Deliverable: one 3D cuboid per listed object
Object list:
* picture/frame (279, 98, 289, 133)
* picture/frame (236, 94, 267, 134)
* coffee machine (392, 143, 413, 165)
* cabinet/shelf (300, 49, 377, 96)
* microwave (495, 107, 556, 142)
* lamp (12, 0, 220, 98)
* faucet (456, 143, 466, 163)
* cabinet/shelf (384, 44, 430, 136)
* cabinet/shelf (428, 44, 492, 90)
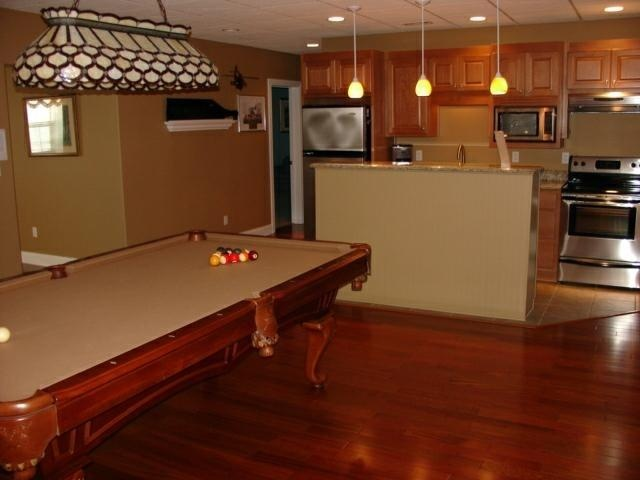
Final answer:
[{"bbox_3d":[-0.630,-2.195,8.872,0.068,0.576,0.285,4,14,24],"label":"picture/frame"},{"bbox_3d":[-1.050,-1.906,7.550,0.021,0.479,0.658,3,9,30],"label":"picture/frame"},{"bbox_3d":[0.909,-0.932,5.506,0.240,0.243,0.268,0,4,14],"label":"coffee machine"},{"bbox_3d":[0.308,-2.197,6.705,1.056,0.543,0.365,10,20,34],"label":"cabinet/shelf"},{"bbox_3d":[2.424,-1.334,6.053,0.725,0.468,0.450,1,-5,7],"label":"microwave"},{"bbox_3d":[-0.954,-0.914,2.419,0.898,0.330,0.316,-11,16,-35],"label":"lamp"},{"bbox_3d":[1.441,-0.877,5.103,0.067,0.198,0.423,2,13,15],"label":"faucet"},{"bbox_3d":[1.169,-1.986,6.591,0.604,1.054,0.549,-3,36,6],"label":"cabinet/shelf"},{"bbox_3d":[1.757,-2.146,6.221,0.774,0.487,0.403,7,31,26],"label":"cabinet/shelf"}]
